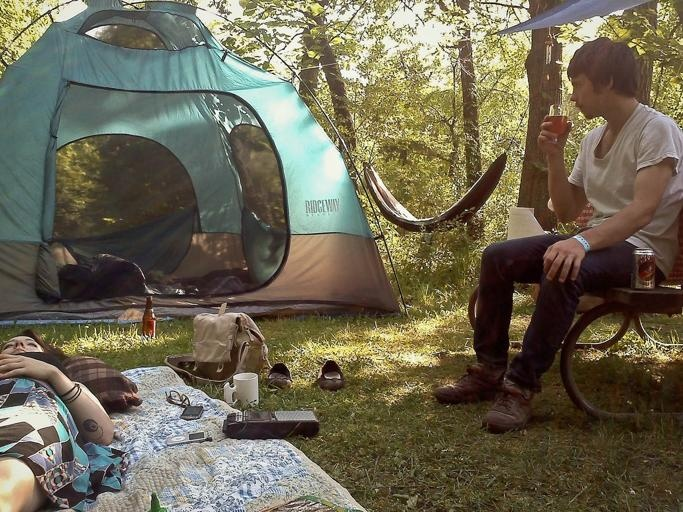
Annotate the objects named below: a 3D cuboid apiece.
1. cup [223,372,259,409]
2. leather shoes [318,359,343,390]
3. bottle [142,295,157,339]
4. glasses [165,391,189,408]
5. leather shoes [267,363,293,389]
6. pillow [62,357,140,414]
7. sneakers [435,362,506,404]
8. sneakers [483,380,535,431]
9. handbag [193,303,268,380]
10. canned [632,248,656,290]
[{"bbox_3d":[-0.538,0.701,2.868,0.194,0.149,0.164,0,7,-8],"label":"cup"},{"bbox_3d":[-0.063,0.689,3.153,0.152,0.126,0.187,0,7,-2],"label":"leather shoes"},{"bbox_3d":[-1.531,0.440,4.261,0.098,0.300,0.480,-2,8,-20],"label":"bottle"},{"bbox_3d":[-0.853,0.743,2.824,0.165,0.068,0.063,7,18,33],"label":"glasses"},{"bbox_3d":[-0.365,0.704,3.160,0.124,0.091,0.242,1,-4,-8],"label":"leather shoes"},{"bbox_3d":[-1.362,0.636,2.835,0.400,0.169,0.513,0,-3,-15],"label":"pillow"},{"bbox_3d":[0.709,0.683,2.886,0.483,0.195,0.157,1,-1,-1],"label":"sneakers"},{"bbox_3d":[0.804,0.710,2.583,0.166,0.217,0.223,6,9,38],"label":"sneakers"},{"bbox_3d":[-0.722,0.543,3.367,0.574,0.445,0.347,-6,-5,34],"label":"handbag"},{"bbox_3d":[1.436,0.059,2.533,0.095,0.182,0.071,0,8,-1],"label":"canned"}]
